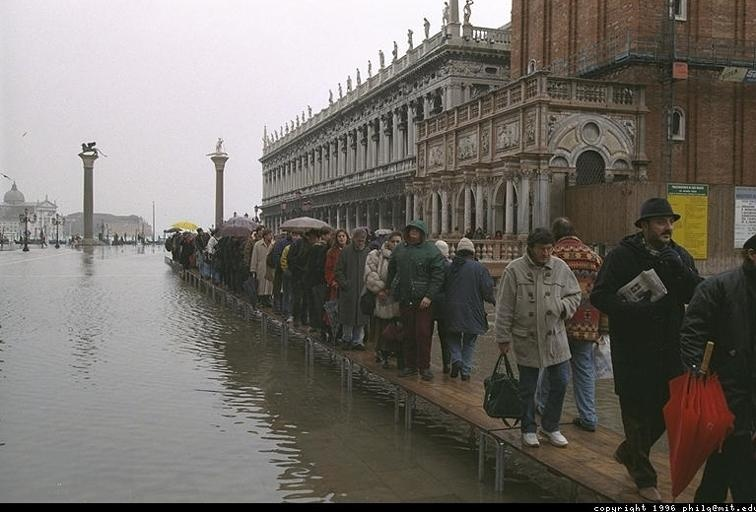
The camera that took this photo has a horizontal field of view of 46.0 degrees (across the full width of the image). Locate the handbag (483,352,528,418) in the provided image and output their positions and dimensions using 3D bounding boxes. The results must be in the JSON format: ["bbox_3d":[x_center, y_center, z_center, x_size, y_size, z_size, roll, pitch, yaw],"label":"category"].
[{"bbox_3d":[1.520,1.643,10.949,0.462,0.920,0.769,-1,3,7],"label":"handbag"}]

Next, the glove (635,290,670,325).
[{"bbox_3d":[3.046,0.593,9.945,0.317,0.322,0.086,14,-1,7],"label":"glove"}]

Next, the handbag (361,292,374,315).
[{"bbox_3d":[-0.186,0.768,14.462,0.252,0.332,0.328,0,-8,4],"label":"handbag"}]

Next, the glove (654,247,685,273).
[{"bbox_3d":[3.263,0.044,10.142,0.261,0.149,0.346,-2,4,0],"label":"glove"}]

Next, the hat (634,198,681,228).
[{"bbox_3d":[3.101,-0.508,10.171,0.369,0.170,0.390,-1,-7,-4],"label":"hat"}]

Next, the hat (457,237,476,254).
[{"bbox_3d":[1.346,-0.154,13.945,0.253,0.280,0.294,5,1,37],"label":"hat"}]

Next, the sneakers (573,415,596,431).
[{"bbox_3d":[2.628,2.134,11.404,0.110,0.114,0.275,-5,17,-24],"label":"sneakers"}]
